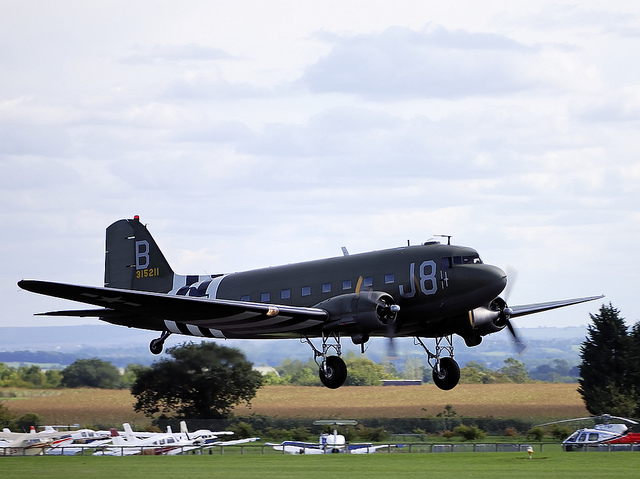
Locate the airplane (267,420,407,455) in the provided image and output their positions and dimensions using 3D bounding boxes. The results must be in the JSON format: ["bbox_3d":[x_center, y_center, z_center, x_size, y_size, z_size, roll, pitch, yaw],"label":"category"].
[{"bbox_3d":[1.647,12.638,71.962,11.100,1.598,7.471,-8,-8,29],"label":"airplane"}]

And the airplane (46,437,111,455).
[{"bbox_3d":[-16.587,13.852,77.298,3.504,0.684,3.358,1,0,4],"label":"airplane"}]
